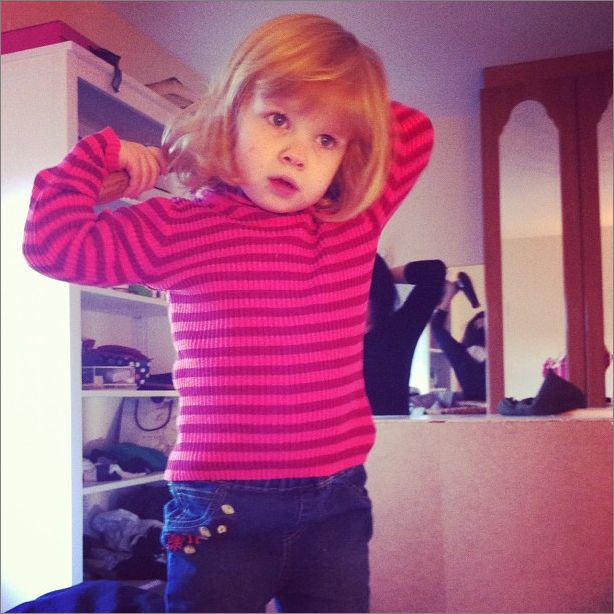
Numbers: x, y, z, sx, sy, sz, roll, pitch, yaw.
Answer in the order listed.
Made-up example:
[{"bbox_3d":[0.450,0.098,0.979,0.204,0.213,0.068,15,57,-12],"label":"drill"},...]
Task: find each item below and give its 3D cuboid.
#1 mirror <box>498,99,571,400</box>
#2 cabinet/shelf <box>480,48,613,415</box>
[{"bbox_3d":[0.805,-0.275,2.390,0.289,1.071,0.020,-2,-4,10],"label":"mirror"},{"bbox_3d":[0.843,-0.237,2.350,0.446,1.187,0.121,0,-5,9],"label":"cabinet/shelf"}]
